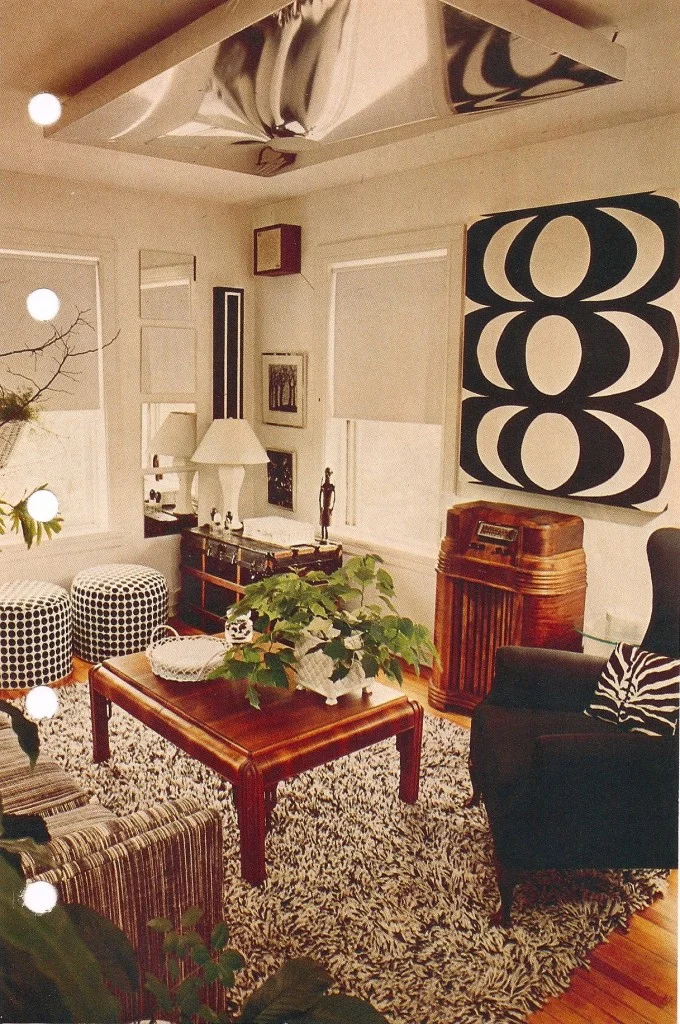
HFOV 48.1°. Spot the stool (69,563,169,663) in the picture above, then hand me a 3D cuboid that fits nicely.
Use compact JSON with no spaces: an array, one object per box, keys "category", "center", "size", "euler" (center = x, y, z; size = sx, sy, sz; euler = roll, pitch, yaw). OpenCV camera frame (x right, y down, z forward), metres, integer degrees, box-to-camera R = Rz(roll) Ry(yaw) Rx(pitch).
[{"category":"stool","center":[-1.258,0.556,4.194],"size":[0.522,0.478,0.529],"euler":[9,3,30]}]

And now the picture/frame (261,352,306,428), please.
[{"category":"picture/frame","center":[-0.336,-0.767,4.747],"size":[0.020,0.492,0.462],"euler":[-3,7,-34]}]

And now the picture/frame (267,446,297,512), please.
[{"category":"picture/frame","center":[-0.357,-0.223,4.836],"size":[0.048,0.451,0.378],"euler":[-3,7,-32]}]

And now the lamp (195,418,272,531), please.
[{"category":"lamp","center":[-0.711,-0.232,4.627],"size":[0.403,0.657,0.586],"euler":[-2,8,-28]}]

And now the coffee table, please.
[{"category":"coffee table","center":[-0.169,0.667,2.432],"size":[0.563,0.306,0.777],"euler":[-5,10,-41]}]

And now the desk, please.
[{"category":"desk","center":[-0.542,0.439,4.548],"size":[0.814,0.580,0.444],"euler":[11,11,42]}]

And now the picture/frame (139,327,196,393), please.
[{"category":"picture/frame","center":[-1.053,-0.928,4.613],"size":[0.030,0.425,0.400],"euler":[8,10,42]}]

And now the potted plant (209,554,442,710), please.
[{"category":"potted plant","center":[-0.013,0.382,2.433],"size":[0.607,0.333,0.607],"euler":[-13,21,-28]}]
